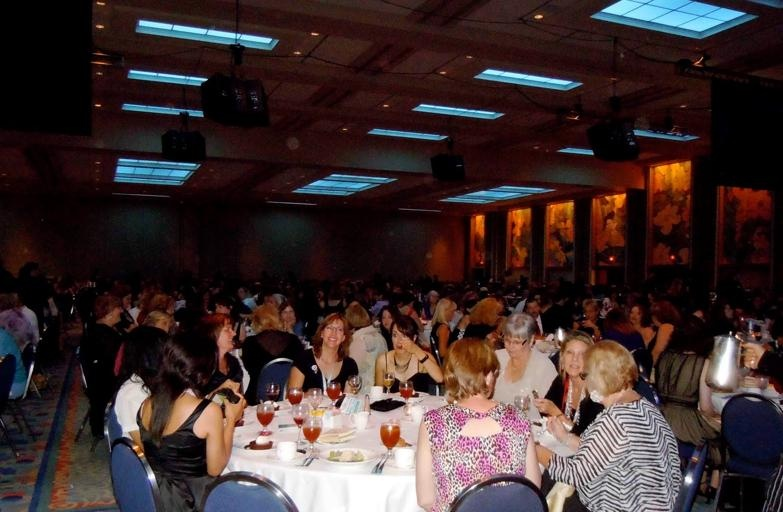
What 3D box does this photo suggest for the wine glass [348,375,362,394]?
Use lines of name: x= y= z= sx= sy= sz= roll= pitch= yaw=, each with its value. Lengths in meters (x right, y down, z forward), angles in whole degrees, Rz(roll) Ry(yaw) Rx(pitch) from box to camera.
wine glass: x=-0.330 y=1.070 z=4.476 sx=0.130 sy=0.157 sz=0.130 roll=-7 pitch=7 yaw=2

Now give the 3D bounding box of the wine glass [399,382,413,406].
wine glass: x=0.122 y=1.118 z=4.367 sx=0.157 sy=0.240 sz=0.165 roll=0 pitch=-7 yaw=1

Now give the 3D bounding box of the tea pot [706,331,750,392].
tea pot: x=2.431 y=0.802 z=3.889 sx=0.210 sy=0.466 sz=0.271 roll=-2 pitch=9 yaw=35

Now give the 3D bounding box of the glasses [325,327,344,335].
glasses: x=-0.528 y=0.681 z=4.930 sx=0.158 sy=0.090 sz=0.029 roll=-9 pitch=8 yaw=-18

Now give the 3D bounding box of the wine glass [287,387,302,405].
wine glass: x=-0.759 y=1.075 z=4.183 sx=0.129 sy=0.125 sz=0.124 roll=0 pitch=4 yaw=-15

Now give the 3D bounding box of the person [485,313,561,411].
person: x=1.197 y=0.964 z=4.881 sx=0.590 sy=1.101 sz=0.413 roll=-8 pitch=-33 yaw=31

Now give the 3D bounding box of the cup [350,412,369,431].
cup: x=-0.235 y=1.213 z=3.957 sx=0.146 sy=0.142 sz=0.094 roll=-2 pitch=5 yaw=-2

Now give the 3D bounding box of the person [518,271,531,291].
person: x=4.747 y=0.881 z=18.971 sx=0.563 sy=0.516 sz=0.968 roll=-4 pitch=-12 yaw=14

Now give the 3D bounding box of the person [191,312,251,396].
person: x=-1.510 y=0.880 z=4.720 sx=0.418 sy=0.359 sz=0.898 roll=-15 pitch=-34 yaw=-12

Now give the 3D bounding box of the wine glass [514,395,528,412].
wine glass: x=0.951 y=1.067 z=3.915 sx=0.106 sy=0.115 sz=0.103 roll=-2 pitch=2 yaw=13

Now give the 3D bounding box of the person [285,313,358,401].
person: x=-0.611 y=1.038 z=5.009 sx=0.735 sy=0.995 sz=0.601 roll=10 pitch=-9 yaw=-21

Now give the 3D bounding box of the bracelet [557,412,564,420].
bracelet: x=1.322 y=1.239 z=4.154 sx=0.035 sy=0.035 sz=0.035 roll=22 pitch=11 yaw=-9

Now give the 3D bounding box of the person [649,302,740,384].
person: x=3.105 y=0.889 z=5.518 sx=0.779 sy=0.654 sz=1.228 roll=-3 pitch=-33 yaw=33

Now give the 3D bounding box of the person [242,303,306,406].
person: x=-1.369 y=1.227 z=6.274 sx=0.838 sy=1.316 sz=0.557 roll=-3 pitch=14 yaw=-28

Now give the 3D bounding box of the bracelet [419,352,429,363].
bracelet: x=0.316 y=0.994 z=5.242 sx=0.087 sy=0.033 sz=0.088 roll=-39 pitch=4 yaw=-13
